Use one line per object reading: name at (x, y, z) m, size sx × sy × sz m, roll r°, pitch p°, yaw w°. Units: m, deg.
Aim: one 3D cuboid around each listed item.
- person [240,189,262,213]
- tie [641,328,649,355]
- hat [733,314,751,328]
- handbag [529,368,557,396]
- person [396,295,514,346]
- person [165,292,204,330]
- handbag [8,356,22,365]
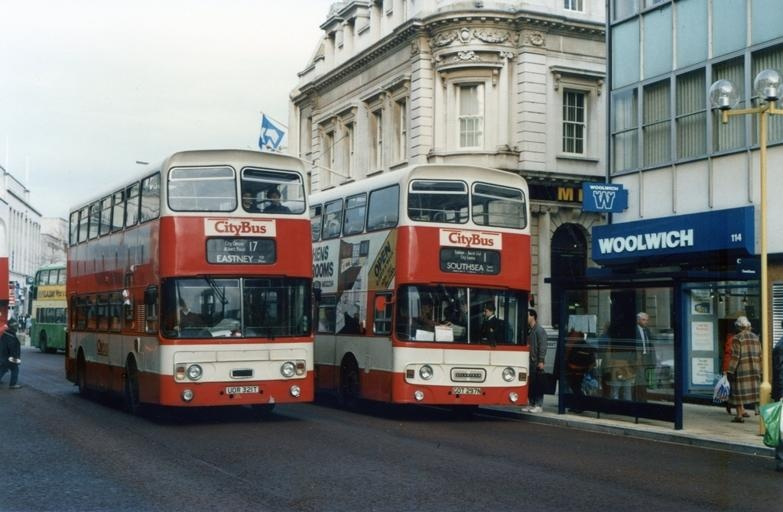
person at (-3.218, -1.244, 19.450) m, size 0.462 × 0.470 × 0.823 m, roll 1°, pitch 9°, yaw -15°
tie at (5.857, 1.962, 19.733) m, size 0.187 × 0.560 × 0.081 m, roll -5°, pitch -8°, yaw 40°
hat at (8.706, 1.620, 21.250) m, size 0.214 × 0.304 × 0.312 m, roll 7°, pitch -47°, yaw 0°
handbag at (3.787, 3.302, 21.764) m, size 0.972 × 0.726 × 0.535 m, roll 6°, pitch -10°, yaw -33°
person at (1.369, 1.656, 21.044) m, size 2.953 × 1.425 × 0.956 m, roll 5°, pitch -8°, yaw -15°
person at (-4.601, 1.223, 18.805) m, size 0.748 × 0.809 × 0.207 m, roll -9°, pitch 3°, yaw -18°
handbag at (-11.831, 3.276, 26.766) m, size 0.519 × 0.238 × 0.199 m, roll 13°, pitch 3°, yaw 16°
